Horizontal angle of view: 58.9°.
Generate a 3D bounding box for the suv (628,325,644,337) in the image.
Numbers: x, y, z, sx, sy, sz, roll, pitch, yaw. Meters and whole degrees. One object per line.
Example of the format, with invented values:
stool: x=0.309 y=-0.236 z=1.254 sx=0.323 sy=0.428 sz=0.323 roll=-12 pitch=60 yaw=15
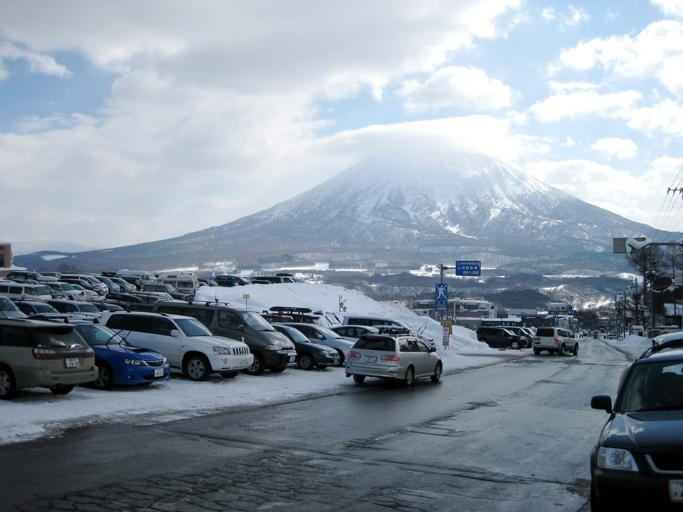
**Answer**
suv: x=56.329 y=14.252 z=115.868 sx=3.543 sy=2.178 sz=2.133 roll=0 pitch=3 yaw=4
